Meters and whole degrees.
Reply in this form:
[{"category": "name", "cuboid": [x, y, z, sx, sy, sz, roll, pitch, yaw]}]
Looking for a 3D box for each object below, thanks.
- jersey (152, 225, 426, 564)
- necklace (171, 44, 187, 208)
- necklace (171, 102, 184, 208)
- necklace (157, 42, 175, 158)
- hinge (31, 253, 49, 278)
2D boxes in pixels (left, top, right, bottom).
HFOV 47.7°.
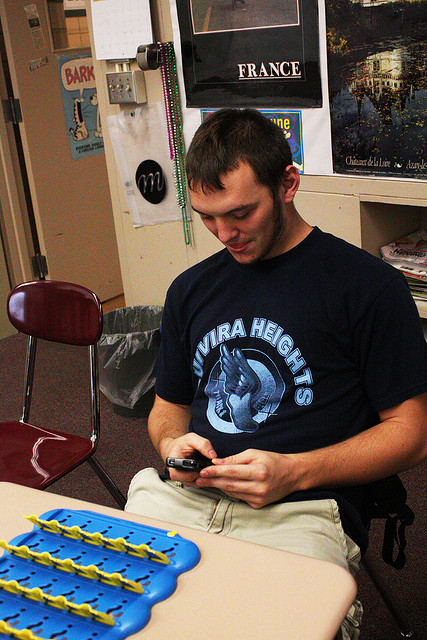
[{"category": "jersey", "cuboid": [0.099, 0.043, 0.912, 0.553, 0.397, 0.203, 1, 11, 40]}, {"category": "necklace", "cuboid": [-0.170, -0.930, 2.285, 0.030, 0.762, 0.032, 4, 5, 39]}, {"category": "necklace", "cuboid": [-0.179, -0.826, 2.390, 0.055, 0.593, 0.054, 14, -28, -43]}, {"category": "necklace", "cuboid": [-0.216, -1.013, 2.260, 0.053, 0.497, 0.058, -5, 15, -4]}, {"category": "hinge", "cuboid": [-1.219, -0.383, 3.396, 0.132, 0.177, 0.107, -3, 6, -7]}]
